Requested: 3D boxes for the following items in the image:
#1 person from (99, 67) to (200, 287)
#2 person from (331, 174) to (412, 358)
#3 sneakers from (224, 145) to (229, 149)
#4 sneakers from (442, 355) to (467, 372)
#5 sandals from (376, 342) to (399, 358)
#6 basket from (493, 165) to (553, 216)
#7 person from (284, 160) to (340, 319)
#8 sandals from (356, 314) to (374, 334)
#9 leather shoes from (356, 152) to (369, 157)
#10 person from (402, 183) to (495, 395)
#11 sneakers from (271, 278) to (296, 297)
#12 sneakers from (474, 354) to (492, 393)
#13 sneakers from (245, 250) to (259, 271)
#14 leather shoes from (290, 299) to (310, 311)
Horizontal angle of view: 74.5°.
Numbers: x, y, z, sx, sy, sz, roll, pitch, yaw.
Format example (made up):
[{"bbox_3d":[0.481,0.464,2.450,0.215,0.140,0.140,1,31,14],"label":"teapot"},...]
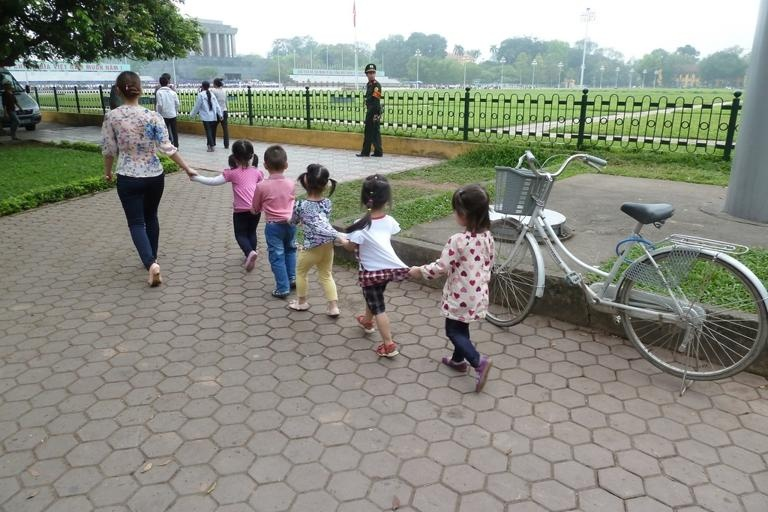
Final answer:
[{"bbox_3d":[-2.687,-0.865,5.676,0.923,2.274,0.834,-6,24,-12],"label":"person"},{"bbox_3d":[-0.079,0.086,4.455,0.524,1.565,0.597,-3,24,-6],"label":"person"},{"bbox_3d":[-4.712,-3.258,15.028,0.087,0.090,0.216,-1,17,-9],"label":"sneakers"},{"bbox_3d":[0.610,0.921,4.437,0.084,0.085,0.230,-19,29,-40],"label":"sneakers"},{"bbox_3d":[0.022,0.842,4.555,0.107,0.099,0.222,-8,6,-31],"label":"sandals"},{"bbox_3d":[1.286,-0.633,4.772,0.447,0.350,0.495,16,24,0],"label":"basket"},{"bbox_3d":[-0.712,-0.130,4.962,0.559,1.516,1.052,-4,23,-9],"label":"person"},{"bbox_3d":[-0.188,0.653,4.909,0.101,0.095,0.234,-8,27,-21],"label":"sandals"},{"bbox_3d":[-0.619,-2.711,13.451,0.401,0.155,0.134,4,14,30],"label":"leather shoes"},{"bbox_3d":[0.650,0.241,4.100,0.667,1.600,0.539,12,27,26],"label":"person"},{"bbox_3d":[-1.156,0.364,5.610,0.335,0.131,0.114,13,19,42],"label":"sneakers"},{"bbox_3d":[0.809,0.947,4.088,0.138,0.294,0.113,21,34,13],"label":"sneakers"},{"bbox_3d":[-1.622,0.065,6.153,0.114,0.289,0.117,2,36,-40],"label":"sneakers"},{"bbox_3d":[-0.900,0.516,5.273,0.182,0.068,0.107,10,13,35],"label":"leather shoes"}]
